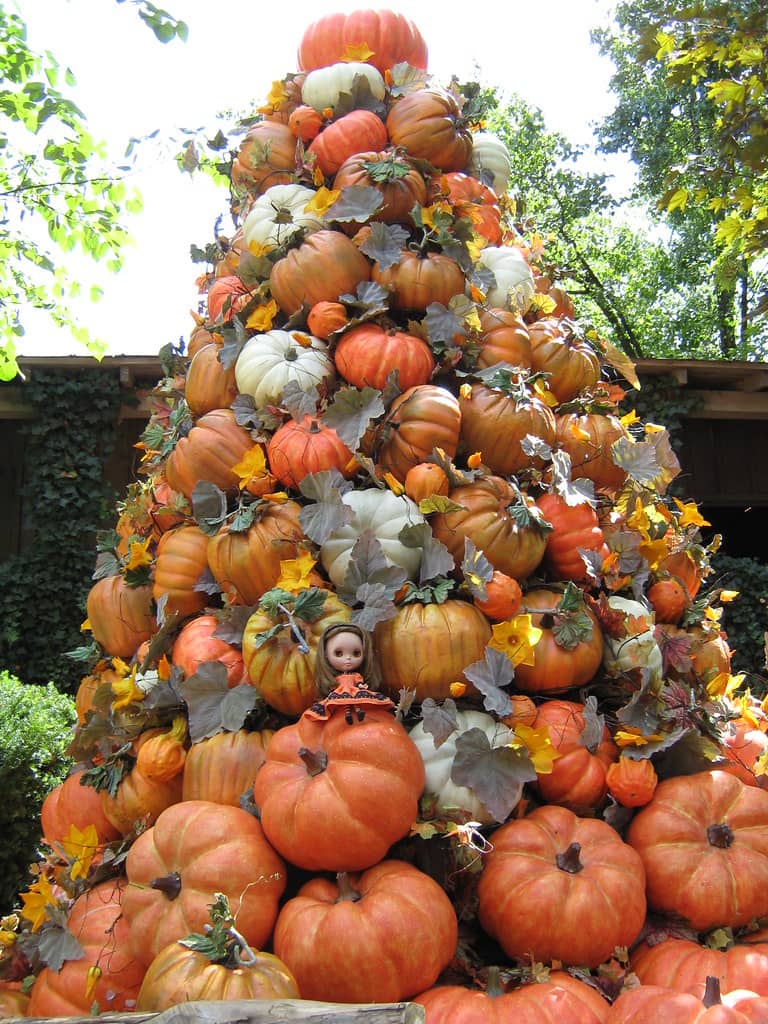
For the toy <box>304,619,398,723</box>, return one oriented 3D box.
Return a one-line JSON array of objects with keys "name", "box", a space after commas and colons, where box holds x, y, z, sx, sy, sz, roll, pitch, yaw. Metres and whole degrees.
[{"name": "toy", "box": [-0.089, 0.407, 2.186, 0.241, 0.254, 0.173, 0, -20, -11]}]
